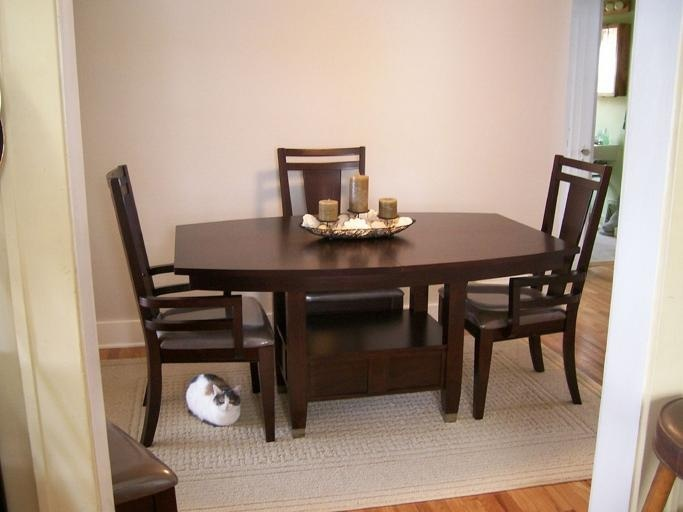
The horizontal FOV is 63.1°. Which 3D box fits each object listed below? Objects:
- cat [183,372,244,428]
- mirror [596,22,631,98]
[{"bbox_3d":[-0.568,0.637,2.568,0.173,0.221,0.270,-26,49,-38],"label":"cat"},{"bbox_3d":[3.042,-2.179,6.202,0.316,0.773,0.394,7,20,25],"label":"mirror"}]
